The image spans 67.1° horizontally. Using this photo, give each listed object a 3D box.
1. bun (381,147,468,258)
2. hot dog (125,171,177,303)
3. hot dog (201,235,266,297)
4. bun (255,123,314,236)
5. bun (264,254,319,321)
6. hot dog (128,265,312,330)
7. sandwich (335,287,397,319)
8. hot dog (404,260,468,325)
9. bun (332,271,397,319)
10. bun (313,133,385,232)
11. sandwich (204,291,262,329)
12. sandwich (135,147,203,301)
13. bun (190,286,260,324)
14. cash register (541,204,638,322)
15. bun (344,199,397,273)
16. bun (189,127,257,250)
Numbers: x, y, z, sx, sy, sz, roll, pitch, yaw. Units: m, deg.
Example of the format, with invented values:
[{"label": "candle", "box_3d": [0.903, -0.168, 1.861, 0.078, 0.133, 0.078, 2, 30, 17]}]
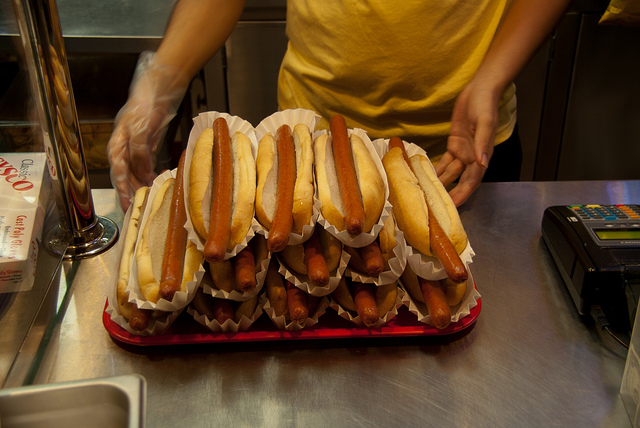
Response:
[{"label": "bun", "box_3d": [0.230, -0.035, 1.190, 0.133, 0.100, 0.320, 1, 53, -24]}, {"label": "hot dog", "box_3d": [-0.400, 0.038, 1.142, 0.053, 0.045, 0.288, 3, 66, 11]}, {"label": "hot dog", "box_3d": [-0.184, 0.117, 1.049, 0.141, 0.125, 0.133, -4, 30, -14]}, {"label": "bun", "box_3d": [-0.083, -0.090, 1.136, 0.136, 0.140, 0.300, 2, 30, -4]}, {"label": "bun", "box_3d": [-0.064, 0.178, 1.049, 0.075, 0.048, 0.169, -6, 66, -16]}, {"label": "hot dog", "box_3d": [-0.220, 0.179, 1.053, 0.276, 0.069, 0.083, -8, 33, -13]}, {"label": "sandwich", "box_3d": [0.109, 0.193, 1.077, 0.075, 0.026, 0.081, -1, 17, -5]}, {"label": "hot dog", "box_3d": [0.267, 0.185, 1.103, 0.108, 0.050, 0.142, -3, 41, -14]}, {"label": "bun", "box_3d": [0.085, 0.199, 1.062, 0.128, 0.057, 0.134, -14, 18, -13]}, {"label": "bun", "box_3d": [0.063, -0.104, 1.078, 0.116, 0.075, 0.248, -4, 56, -9]}, {"label": "sandwich", "box_3d": [-0.197, 0.201, 1.083, 0.083, 0.037, 0.086, -3, 17, -27]}, {"label": "sandwich", "box_3d": [-0.347, 0.022, 1.157, 0.106, 0.085, 0.389, -2, 56, 3]}, {"label": "bun", "box_3d": [-0.218, 0.206, 1.078, 0.092, 0.034, 0.097, -6, 27, -14]}, {"label": "cash register", "box_3d": [0.685, 0.098, 1.242, 0.222, 0.172, 0.333, 15, 31, 18]}, {"label": "bun", "box_3d": [0.120, 0.060, 1.080, 0.079, 0.048, 0.165, -3, 79, -4]}, {"label": "bun", "box_3d": [-0.219, -0.077, 1.101, 0.120, 0.080, 0.284, 1, 58, -17]}]
